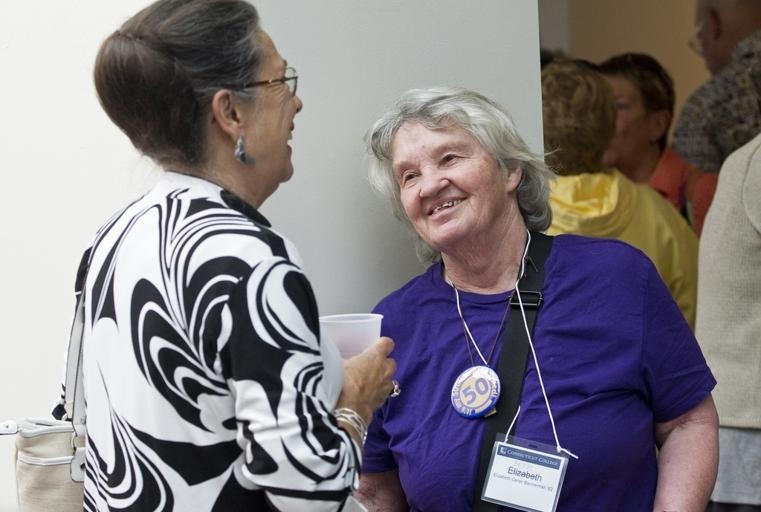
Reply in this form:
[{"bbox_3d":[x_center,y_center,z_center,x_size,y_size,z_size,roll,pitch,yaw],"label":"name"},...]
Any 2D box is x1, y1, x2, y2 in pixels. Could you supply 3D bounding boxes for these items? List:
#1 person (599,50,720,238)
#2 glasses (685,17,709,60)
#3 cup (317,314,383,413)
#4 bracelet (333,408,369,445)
[{"bbox_3d":[1.370,-0.566,5.735,0.414,0.858,0.830,-13,3,-18],"label":"person"},{"bbox_3d":[1.628,-1.122,5.842,0.069,0.199,0.140,1,6,-14],"label":"glasses"},{"bbox_3d":[-0.148,0.384,4.269,0.283,0.419,0.271,-2,-3,0],"label":"cup"},{"bbox_3d":[-0.095,0.603,4.136,0.092,0.122,0.123,-46,-11,-12],"label":"bracelet"}]
